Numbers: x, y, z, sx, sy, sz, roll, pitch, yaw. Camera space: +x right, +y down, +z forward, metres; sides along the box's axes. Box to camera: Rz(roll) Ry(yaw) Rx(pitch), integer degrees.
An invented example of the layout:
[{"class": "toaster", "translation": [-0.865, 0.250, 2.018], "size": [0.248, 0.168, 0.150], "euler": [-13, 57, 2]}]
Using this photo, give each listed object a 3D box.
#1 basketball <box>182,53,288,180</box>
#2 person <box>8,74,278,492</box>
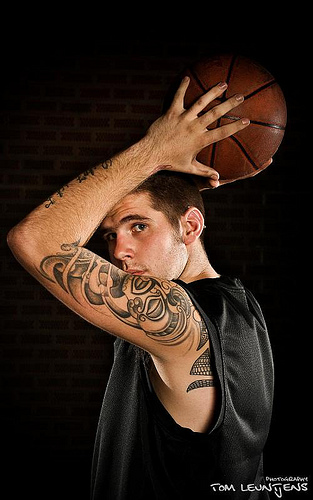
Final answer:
[{"class": "basketball", "translation": [0.213, -0.333, 1.396], "size": [0.318, 0.285, 0.280], "euler": [-3, -2, -15]}, {"class": "person", "translation": [0.014, 0.149, 1.305], "size": [0.548, 1.130, 0.476], "euler": [2, 15, 13]}]
